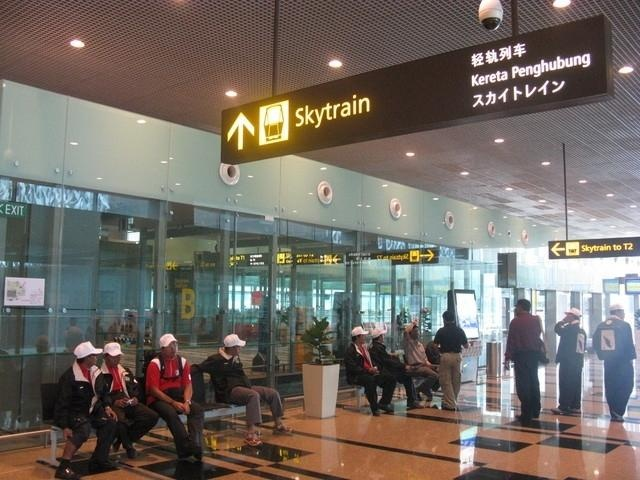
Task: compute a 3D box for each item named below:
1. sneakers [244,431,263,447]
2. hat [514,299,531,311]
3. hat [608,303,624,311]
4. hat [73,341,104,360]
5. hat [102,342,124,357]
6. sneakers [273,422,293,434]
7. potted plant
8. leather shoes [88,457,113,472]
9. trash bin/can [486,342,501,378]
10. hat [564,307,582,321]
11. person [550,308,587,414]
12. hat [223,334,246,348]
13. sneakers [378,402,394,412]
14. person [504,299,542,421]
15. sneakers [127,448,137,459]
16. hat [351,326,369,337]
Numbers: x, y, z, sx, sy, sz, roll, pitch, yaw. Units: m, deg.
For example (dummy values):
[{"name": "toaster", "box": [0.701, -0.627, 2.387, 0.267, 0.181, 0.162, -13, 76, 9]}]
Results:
[{"name": "sneakers", "box": [-0.901, 2.718, 6.763, 0.223, 0.186, 0.210, -1, -2, -19]}, {"name": "hat", "box": [3.716, 1.154, 8.941, 0.203, 0.247, 0.236, 10, -23, -32]}, {"name": "hat", "box": [5.697, 1.294, 9.431, 0.199, 0.080, 0.140, 5, -6, -23]}, {"name": "hat", "box": [-2.867, 1.352, 6.112, 0.377, 0.196, 0.261, -11, 8, -26]}, {"name": "hat", "box": [-2.751, 1.442, 6.485, 0.168, 0.123, 0.237, 6, -12, -39]}, {"name": "sneakers", "box": [-0.560, 2.816, 7.419, 0.302, 0.131, 0.130, -6, -12, 31]}, {"name": "potted plant", "box": [0.012, 2.290, 8.813, 0.611, 1.622, 0.681, -1, -2, -24]}, {"name": "leather shoes", "box": [-2.606, 2.660, 5.845, 0.333, 0.150, 0.127, 0, -6, -2]}, {"name": "trash bin/can", "box": [4.982, 3.355, 14.046, 0.408, 0.904, 0.645, -3, -2, 20]}, {"name": "hat", "box": [4.907, 1.446, 9.513, 0.444, 0.169, 0.315, 1, 1, 19]}, {"name": "person", "box": [4.705, 2.273, 9.248, 0.484, 1.855, 0.908, -4, -3, 38]}, {"name": "hat", "box": [-1.298, 1.564, 7.608, 0.348, 0.191, 0.231, -2, 4, -43]}, {"name": "sneakers", "box": [1.270, 3.052, 8.995, 0.390, 0.158, 0.132, 2, -7, 6]}, {"name": "person", "box": [3.589, 2.107, 8.674, 0.567, 2.039, 0.909, -4, -3, 37]}, {"name": "sneakers", "box": [-2.373, 2.670, 6.196, 0.146, 0.142, 0.088, 1, -6, -3]}, {"name": "hat", "box": [0.741, 1.745, 9.181, 0.329, 0.111, 0.233, -8, -2, 27]}]
